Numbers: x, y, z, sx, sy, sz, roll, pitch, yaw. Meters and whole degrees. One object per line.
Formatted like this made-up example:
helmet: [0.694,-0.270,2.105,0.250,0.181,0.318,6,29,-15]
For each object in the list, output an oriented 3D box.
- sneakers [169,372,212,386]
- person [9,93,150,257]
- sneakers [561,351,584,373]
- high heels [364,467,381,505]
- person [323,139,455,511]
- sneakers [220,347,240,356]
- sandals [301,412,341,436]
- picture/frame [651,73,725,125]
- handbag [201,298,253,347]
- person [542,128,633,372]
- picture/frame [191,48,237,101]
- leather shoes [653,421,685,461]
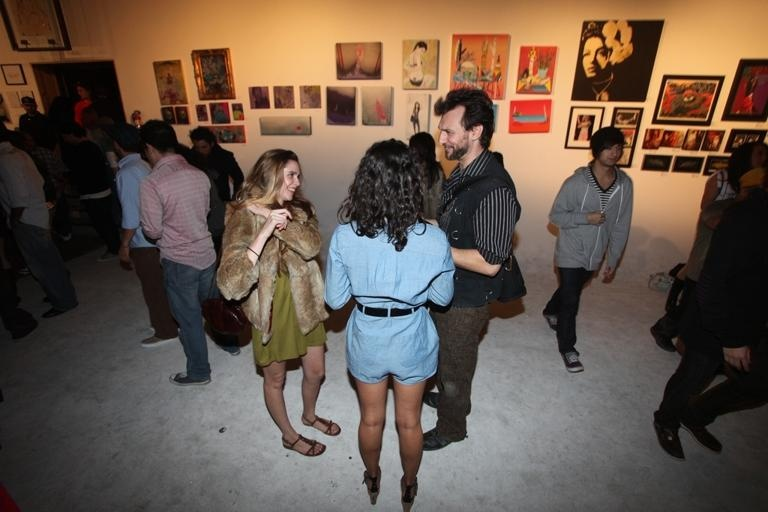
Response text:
sneakers: [-2.129,1.367,4.931,0.409,0.166,0.164,6,10,-7]
person: [-4.376,-1.210,6.426,0.995,2.853,1.061,39,58,8]
sneakers: [2.174,1.231,5.124,0.131,0.126,0.315,-8,16,7]
high heels: [-0.110,2.089,4.048,0.109,0.159,0.344,0,11,-3]
person: [0.019,0.680,3.755,0.874,3.124,0.797,14,28,28]
sneakers: [-1.839,1.132,5.343,0.218,0.093,0.081,7,11,8]
sandals: [-0.607,1.705,4.471,0.392,0.157,0.180,11,37,14]
picture/frame: [4.021,-2.091,5.851,0.654,0.574,0.046,4,21,5]
handbag: [-1.587,0.670,4.485,0.602,0.597,0.270,13,19,33]
person: [2.266,-0.100,5.099,0.821,2.577,1.144,14,28,27]
picture/frame: [-2.594,-2.836,6.853,0.757,0.881,0.126,2,29,17]
leather shoes: [2.786,1.797,4.392,0.147,0.155,0.393,-8,49,10]
